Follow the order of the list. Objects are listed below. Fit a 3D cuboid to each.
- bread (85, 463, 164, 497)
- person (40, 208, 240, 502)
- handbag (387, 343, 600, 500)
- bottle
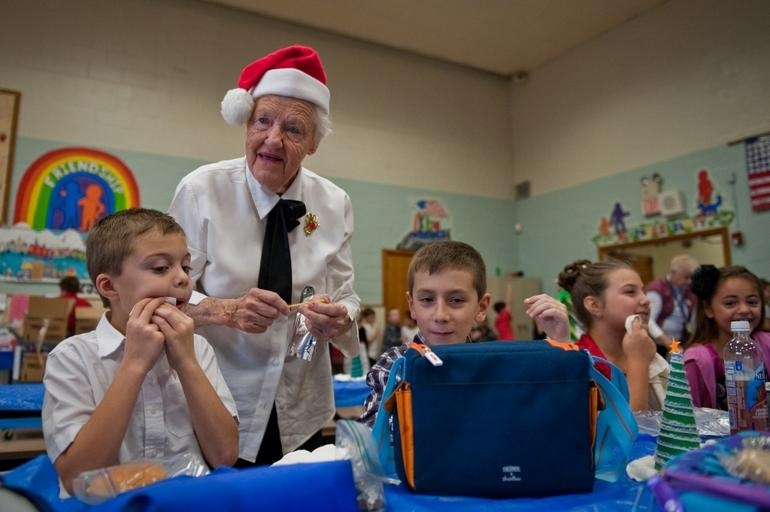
[{"bbox_3d":[-0.965,0.811,2.304,0.111,0.060,0.192,3,1,31],"label":"bread"},{"bbox_3d":[-1.096,0.586,2.759,0.671,1.518,0.761,-12,-9,39],"label":"person"},{"bbox_3d":[0.477,0.626,2.579,0.837,0.643,0.484,-3,8,3],"label":"handbag"},{"bbox_3d":[1.692,0.585,2.867,0.168,0.459,0.159,0,-4,0],"label":"bottle"}]
